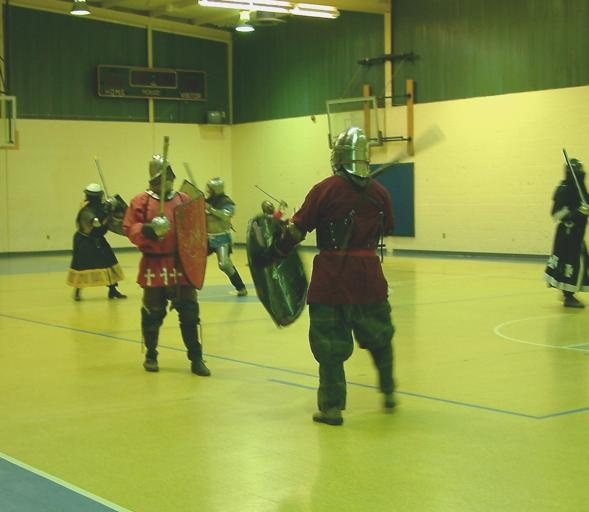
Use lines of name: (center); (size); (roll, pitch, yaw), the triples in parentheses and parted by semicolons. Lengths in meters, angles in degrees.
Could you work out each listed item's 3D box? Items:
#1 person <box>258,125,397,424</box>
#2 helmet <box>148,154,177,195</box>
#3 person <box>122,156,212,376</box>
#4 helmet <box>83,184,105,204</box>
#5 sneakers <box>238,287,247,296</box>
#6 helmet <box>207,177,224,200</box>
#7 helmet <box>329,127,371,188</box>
person: (0.302, 0.110, 3.489); (0.671, 1.690, 0.385); (-8, 11, -31)
helmet: (-1.066, -0.681, 4.669); (0.208, 0.248, 0.188); (-21, 22, -28)
person: (-0.983, 0.098, 4.638); (0.600, 1.730, 0.566); (-3, 9, -3)
helmet: (-2.994, -0.922, 8.861); (0.267, 0.274, 0.425); (-5, 10, -19)
sneakers: (-0.780, 0.560, 9.043); (0.091, 0.090, 0.114); (-3, 2, -34)
helmet: (-1.154, -0.990, 8.537); (0.268, 0.289, 0.205); (4, 5, 9)
helmet: (0.351, -0.605, 3.486); (0.302, 0.308, 0.232); (20, 20, 41)
